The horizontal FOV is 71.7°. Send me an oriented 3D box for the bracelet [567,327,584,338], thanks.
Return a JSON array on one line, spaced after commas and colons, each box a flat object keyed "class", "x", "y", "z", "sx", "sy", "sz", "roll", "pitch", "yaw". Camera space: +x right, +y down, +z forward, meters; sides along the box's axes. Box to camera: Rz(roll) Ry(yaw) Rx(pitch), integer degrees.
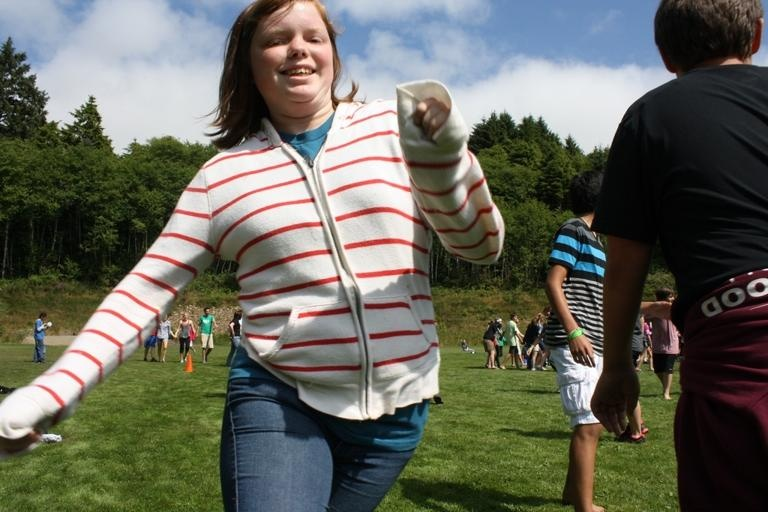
[{"class": "bracelet", "x": 1.504, "y": 0.599, "z": 4.154, "sx": 0.111, "sy": 0.087, "sz": 0.069, "roll": 0, "pitch": -7, "yaw": 1}]
